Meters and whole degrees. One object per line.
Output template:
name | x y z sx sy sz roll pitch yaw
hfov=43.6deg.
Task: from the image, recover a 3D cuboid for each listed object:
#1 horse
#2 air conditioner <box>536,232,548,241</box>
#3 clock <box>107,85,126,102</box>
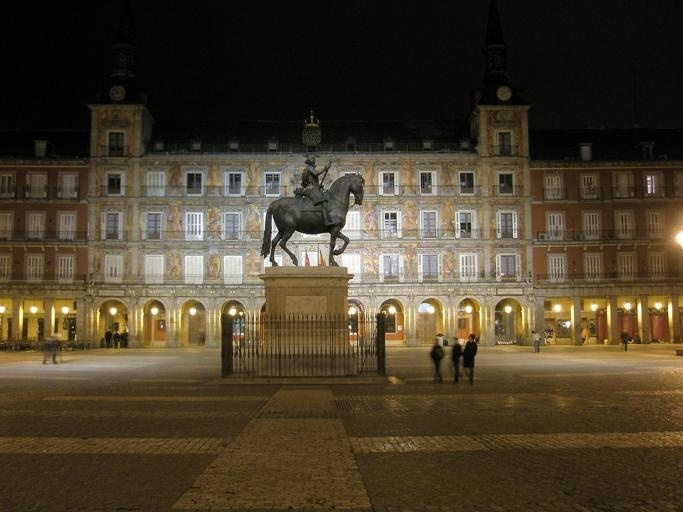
horse | -1.225 -1.507 36.806 4.497 4.266 1.373 0 -13 -2
air conditioner | 15.887 -1.501 67.690 0.676 0.639 0.326 0 -17 2
clock | -17.859 -12.885 67.796 1.419 1.356 0.672 0 6 5
